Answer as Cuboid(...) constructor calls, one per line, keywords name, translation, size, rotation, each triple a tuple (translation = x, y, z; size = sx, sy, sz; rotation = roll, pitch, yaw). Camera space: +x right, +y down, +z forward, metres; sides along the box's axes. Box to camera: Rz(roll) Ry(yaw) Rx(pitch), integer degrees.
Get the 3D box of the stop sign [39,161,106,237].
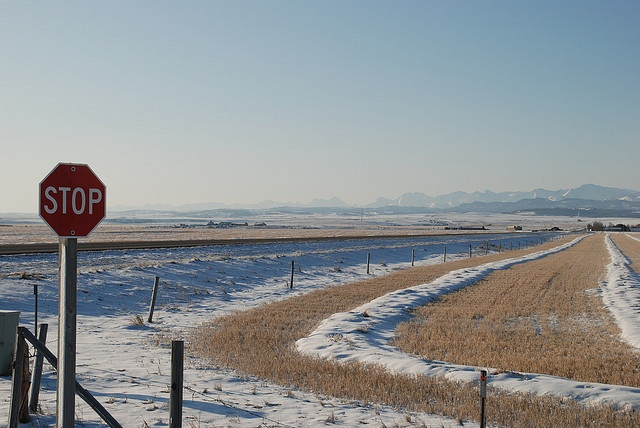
Cuboid(name="stop sign", translation=(-4.808, -0.269, 10.312), size=(1.592, 1.450, 0.088), rotation=(2, 4, 16))
